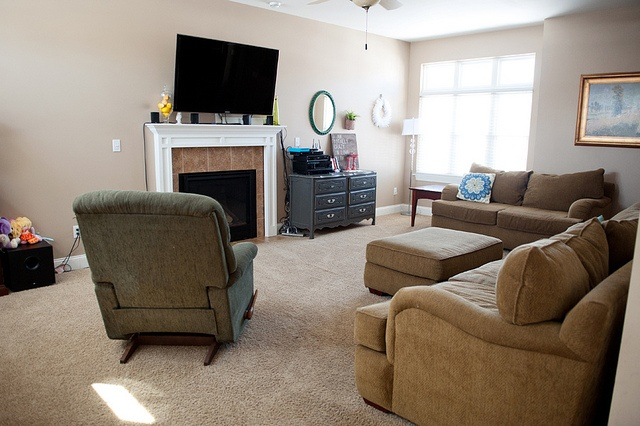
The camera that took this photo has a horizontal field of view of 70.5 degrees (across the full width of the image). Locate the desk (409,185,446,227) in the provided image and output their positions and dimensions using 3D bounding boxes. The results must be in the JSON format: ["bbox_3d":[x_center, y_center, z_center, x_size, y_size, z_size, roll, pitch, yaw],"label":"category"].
[{"bbox_3d":[1.752,-0.172,7.415,0.660,0.626,0.662,11,18,39],"label":"desk"}]

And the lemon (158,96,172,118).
[{"bbox_3d":[-1.860,-1.271,5.435,0.147,0.277,0.174,-5,13,-16],"label":"lemon"}]

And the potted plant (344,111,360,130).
[{"bbox_3d":[0.467,-1.513,7.402,0.273,0.276,0.286,1,13,-8],"label":"potted plant"}]

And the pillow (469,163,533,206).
[{"bbox_3d":[2.579,-0.388,6.501,0.627,0.401,0.222,12,-14,44],"label":"pillow"}]

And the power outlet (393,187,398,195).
[{"bbox_3d":[1.372,-0.420,8.406,0.010,0.135,0.137,5,11,33],"label":"power outlet"}]

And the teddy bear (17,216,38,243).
[{"bbox_3d":[-3.085,0.176,4.748,0.133,0.267,0.214,-4,12,43],"label":"teddy bear"}]

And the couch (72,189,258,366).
[{"bbox_3d":[-1.240,0.431,3.953,1.344,1.533,1.364,1,4,7],"label":"couch"}]
